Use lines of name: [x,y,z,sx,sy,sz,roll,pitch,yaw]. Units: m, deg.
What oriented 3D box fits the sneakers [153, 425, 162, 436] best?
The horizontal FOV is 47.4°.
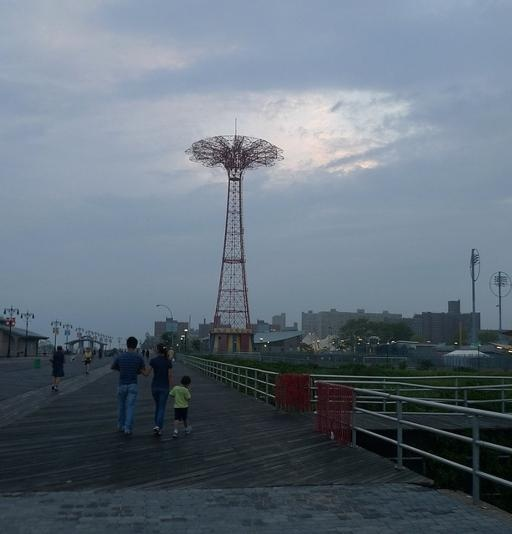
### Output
sneakers: [-1.902,3.125,11.178,0.112,0.147,0.309,2,-1,-4]
